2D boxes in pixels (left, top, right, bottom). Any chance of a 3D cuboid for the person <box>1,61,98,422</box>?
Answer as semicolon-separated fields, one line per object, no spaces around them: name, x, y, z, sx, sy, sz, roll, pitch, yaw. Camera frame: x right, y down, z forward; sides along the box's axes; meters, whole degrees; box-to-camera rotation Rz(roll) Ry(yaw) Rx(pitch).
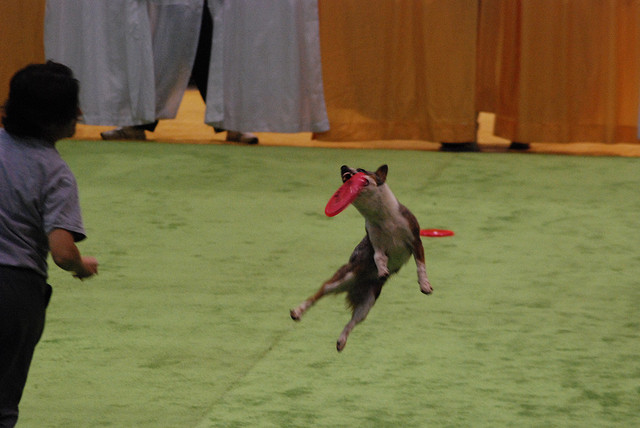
person;-1.314;0.127;5.475;0.469;1.739;0.205;-1;4;-11

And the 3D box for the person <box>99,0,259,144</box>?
person;-1.149;-1.213;9.299;1.243;1.723;0.376;1;-5;-4

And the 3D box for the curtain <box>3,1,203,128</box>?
curtain;-1.590;-1.180;8.568;1.486;1.277;0.168;3;7;3

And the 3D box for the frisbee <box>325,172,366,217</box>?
frisbee;0.124;-0.112;5.908;0.219;0.216;0.113;-3;5;-33
